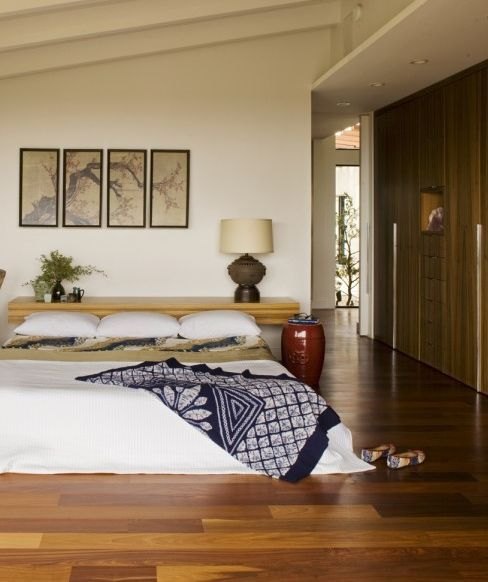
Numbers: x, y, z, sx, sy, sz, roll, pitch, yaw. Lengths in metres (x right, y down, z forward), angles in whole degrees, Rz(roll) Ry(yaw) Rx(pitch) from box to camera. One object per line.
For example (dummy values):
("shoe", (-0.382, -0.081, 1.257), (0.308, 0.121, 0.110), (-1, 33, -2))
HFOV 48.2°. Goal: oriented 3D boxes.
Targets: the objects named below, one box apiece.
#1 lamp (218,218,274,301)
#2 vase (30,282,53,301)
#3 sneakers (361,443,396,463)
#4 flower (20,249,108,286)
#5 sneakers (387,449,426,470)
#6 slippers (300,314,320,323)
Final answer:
("lamp", (0.035, -0.291, 5.063), (0.482, 0.751, 0.469), (1, 6, 1))
("vase", (-1.764, -0.002, 4.880), (0.097, 0.172, 0.209), (-5, 8, -44))
("sneakers", (0.691, 0.824, 2.821), (0.073, 0.045, 0.200), (2, 5, 45))
("flower", (-1.621, -0.218, 5.052), (0.548, 0.260, 0.357), (2, 4, 42))
("sneakers", (0.807, 0.830, 2.723), (0.199, 0.044, 0.076), (-4, 5, -33))
("slippers", (0.546, 0.230, 4.318), (0.156, 0.047, 0.115), (6, -4, -44))
